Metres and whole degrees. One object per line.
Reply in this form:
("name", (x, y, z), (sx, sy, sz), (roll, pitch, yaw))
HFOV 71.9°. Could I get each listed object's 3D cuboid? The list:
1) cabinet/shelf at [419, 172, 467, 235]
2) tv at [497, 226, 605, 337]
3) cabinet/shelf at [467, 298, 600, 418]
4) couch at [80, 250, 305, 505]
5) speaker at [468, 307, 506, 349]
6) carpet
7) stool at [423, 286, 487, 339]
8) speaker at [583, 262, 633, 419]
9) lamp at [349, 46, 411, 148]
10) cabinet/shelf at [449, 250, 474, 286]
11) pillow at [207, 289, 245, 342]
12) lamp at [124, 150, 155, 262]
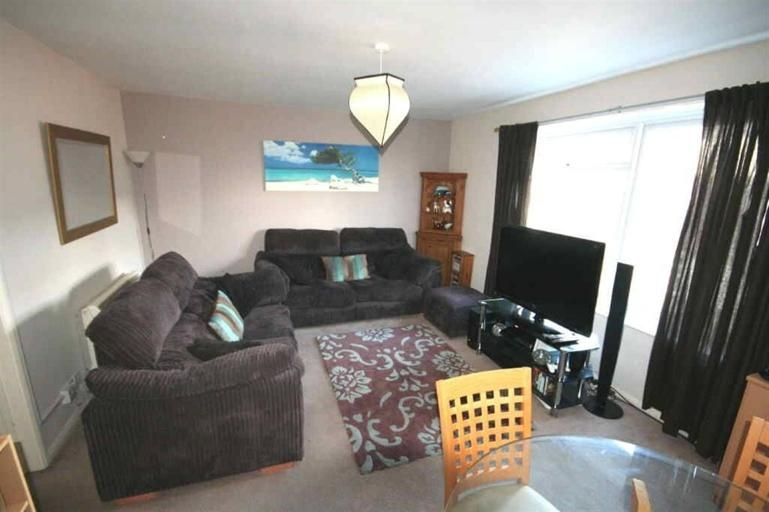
("cabinet/shelf", (0.822, -0.742, 7.192), (0.818, 0.972, 0.259), (6, 10, 30))
("tv", (1.649, 0.255, 5.163), (0.304, 0.724, 1.012), (-7, 16, -29))
("cabinet/shelf", (1.480, 0.923, 5.335), (0.524, 0.552, 1.113), (-8, 24, -32))
("couch", (-1.709, 0.848, 5.420), (1.631, 1.400, 2.990), (-5, 15, -10))
("speaker", (1.110, 0.785, 5.789), (0.255, 0.439, 0.461), (0, 4, -19))
("carpet", (0.089, 1.160, 5.350), (1.323, 0.029, 1.722), (-7, 26, -19))
("stool", (0.886, 0.609, 6.335), (0.680, 0.437, 0.637), (-9, 24, -23))
("speaker", (2.075, 0.756, 4.852), (0.345, 1.429, 0.297), (6, 12, 25))
("lamp", (-0.028, -1.355, 4.387), (0.535, 0.738, 0.555), (-1, 8, -1))
("cabinet/shelf", (1.028, 0.151, 6.971), (0.256, 0.640, 0.392), (-1, 9, -14))
("pillow", (-1.581, 0.582, 5.082), (0.169, 0.630, 0.153), (-1, 50, -22))
("lamp", (-2.800, -0.545, 6.076), (0.257, 1.328, 0.344), (-3, 11, -23))
